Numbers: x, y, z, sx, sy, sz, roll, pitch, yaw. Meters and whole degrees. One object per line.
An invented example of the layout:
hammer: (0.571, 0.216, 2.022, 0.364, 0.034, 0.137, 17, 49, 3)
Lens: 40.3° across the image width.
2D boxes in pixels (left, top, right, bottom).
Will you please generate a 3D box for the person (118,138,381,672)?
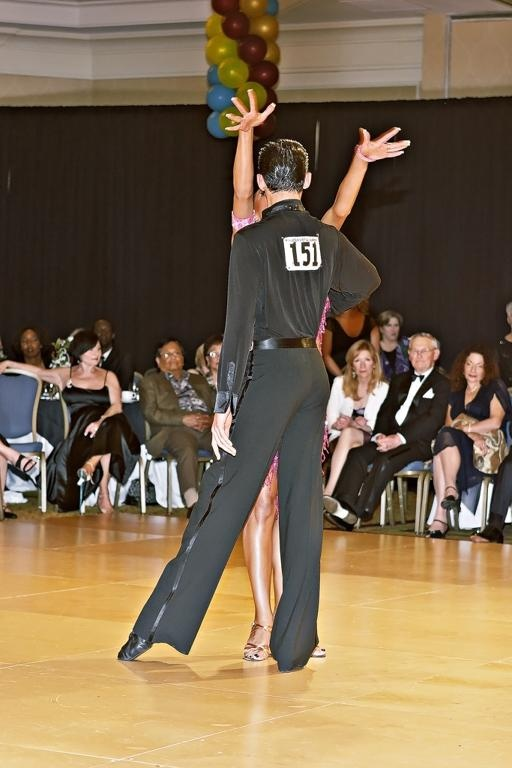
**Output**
person: (0.040, 0.064, 1.946, 0.610, 1.433, 0.332, 5, -8, -27)

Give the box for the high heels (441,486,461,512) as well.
high heels: (1.428, 0.846, 5.108, 0.092, 0.105, 0.268, -7, -49, 14)

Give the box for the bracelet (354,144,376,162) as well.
bracelet: (0.313, -0.667, 2.053, 0.064, 0.025, 0.050, 30, -12, 20)

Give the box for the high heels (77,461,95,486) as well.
high heels: (-1.433, 0.734, 5.905, 0.088, 0.238, 0.094, 21, 5, 27)

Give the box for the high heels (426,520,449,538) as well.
high heels: (1.324, 1.051, 5.043, 0.083, 0.089, 0.234, 2, 7, 8)

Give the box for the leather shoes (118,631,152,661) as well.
leather shoes: (-0.336, 0.731, 1.928, 0.054, 0.064, 0.170, 8, -1, -7)

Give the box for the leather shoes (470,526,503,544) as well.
leather shoes: (1.595, 1.042, 4.815, 0.207, 0.109, 0.233, -1, -7, 16)

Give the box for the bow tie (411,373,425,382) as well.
bow tie: (1.339, -0.051, 5.747, 0.068, 0.057, 0.010, 3, 2, 17)

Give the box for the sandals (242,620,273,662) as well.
sandals: (-0.004, 0.772, 2.052, 0.047, 0.050, 0.130, 0, -7, 7)
